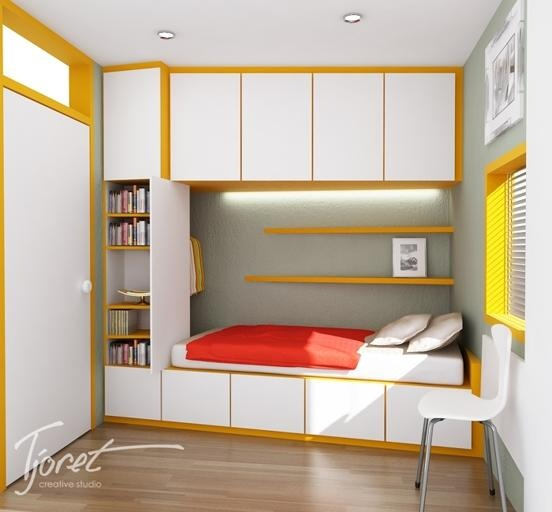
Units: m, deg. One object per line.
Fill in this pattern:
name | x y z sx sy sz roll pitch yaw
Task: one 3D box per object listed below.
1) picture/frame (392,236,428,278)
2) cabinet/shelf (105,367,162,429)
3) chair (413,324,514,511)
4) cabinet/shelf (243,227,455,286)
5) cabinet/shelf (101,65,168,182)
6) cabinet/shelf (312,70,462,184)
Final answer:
picture/frame | 1.218 0.012 4.370 0.343 0.456 0.035 0 -5 10
cabinet/shelf | -1.214 1.154 3.975 0.492 0.416 0.247 19 -39 -39
chair | 1.050 0.876 2.765 0.485 1.059 0.869 0 3 16
cabinet/shelf | 0.655 -0.001 4.416 1.811 0.547 0.291 0 3 14
cabinet/shelf | -1.177 -1.022 4.113 0.591 1.037 0.539 -5 -15 2
cabinet/shelf | 0.959 -0.990 4.090 1.377 1.050 0.738 0 0 9
